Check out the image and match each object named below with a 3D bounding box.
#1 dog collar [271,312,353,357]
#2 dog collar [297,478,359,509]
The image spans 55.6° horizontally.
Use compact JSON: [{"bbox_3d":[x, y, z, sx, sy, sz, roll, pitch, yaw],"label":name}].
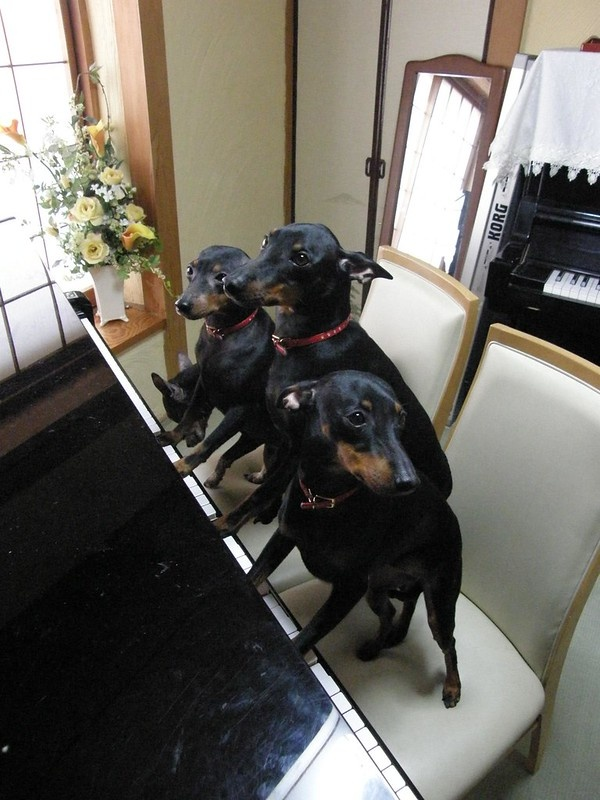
[{"bbox_3d":[0.008,-0.076,0.727,0.068,0.017,0.061,-16,-5,-14],"label":"dog collar"},{"bbox_3d":[0.024,0.107,0.650,0.045,0.012,0.040,-19,63,-2],"label":"dog collar"}]
